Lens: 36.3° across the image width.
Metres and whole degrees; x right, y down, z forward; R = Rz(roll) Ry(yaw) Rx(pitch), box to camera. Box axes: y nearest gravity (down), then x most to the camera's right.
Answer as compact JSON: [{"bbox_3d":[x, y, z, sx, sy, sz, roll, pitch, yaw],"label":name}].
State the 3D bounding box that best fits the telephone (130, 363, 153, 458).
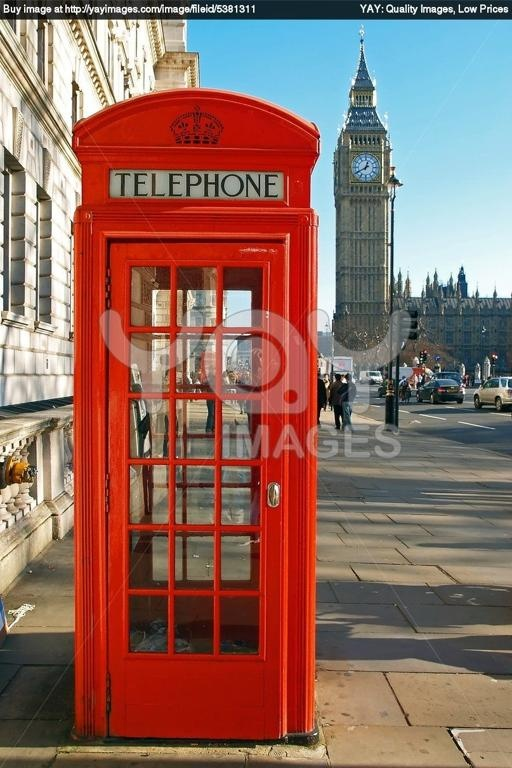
[{"bbox_3d":[-0.478,0.115,3.279,0.066,0.384,0.088,1,1,-11],"label":"telephone"}]
